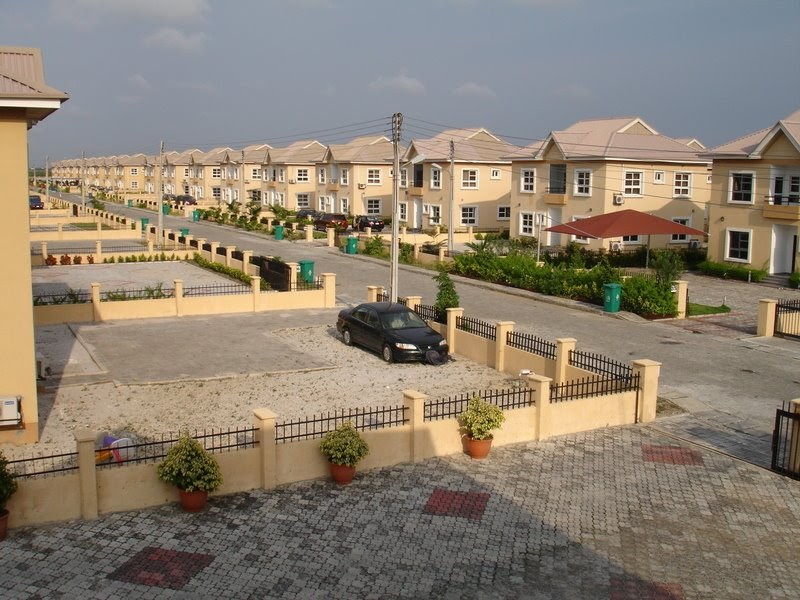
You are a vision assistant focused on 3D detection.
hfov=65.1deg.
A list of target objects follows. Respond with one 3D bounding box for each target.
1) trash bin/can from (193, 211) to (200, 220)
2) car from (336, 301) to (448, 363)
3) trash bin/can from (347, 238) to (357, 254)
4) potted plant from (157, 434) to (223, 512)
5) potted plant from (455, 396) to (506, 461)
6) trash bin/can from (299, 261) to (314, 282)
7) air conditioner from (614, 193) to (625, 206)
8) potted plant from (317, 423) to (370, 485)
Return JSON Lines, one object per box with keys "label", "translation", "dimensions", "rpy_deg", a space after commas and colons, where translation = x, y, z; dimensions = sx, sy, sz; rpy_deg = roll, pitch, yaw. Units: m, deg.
{"label": "trash bin/can", "translation": [-23.321, -9.746, 71.822], "dimensions": [0.726, 1.118, 1.959], "rpy_deg": [-3, 11, -17]}
{"label": "car", "translation": [-0.207, 1.030, 21.345], "dimensions": [1.792, 1.538, 3.973], "rpy_deg": [-8, 14, -37]}
{"label": "trash bin/can", "translation": [-3.647, -4.027, 45.951], "dimensions": [0.816, 1.135, 0.544], "rpy_deg": [4, 12, 19]}
{"label": "potted plant", "translation": [-3.698, 3.081, 10.960], "dimensions": [1.127, 1.235, 1.058], "rpy_deg": [-19, -14, 29]}
{"label": "potted plant", "translation": [1.665, 2.824, 13.410], "dimensions": [1.048, 1.128, 0.940], "rpy_deg": [2, 1, -23]}
{"label": "trash bin/can", "translation": [-4.663, -1.499, 30.887], "dimensions": [1.138, 0.853, 0.626], "rpy_deg": [9, 14, 38]}
{"label": "air conditioner", "translation": [15.023, -6.965, 42.883], "dimensions": [0.203, 0.788, 0.837], "rpy_deg": [4, 8, 41]}
{"label": "potted plant", "translation": [-1.030, 2.993, 12.159], "dimensions": [0.965, 1.042, 0.989], "rpy_deg": [7, -21, -21]}
